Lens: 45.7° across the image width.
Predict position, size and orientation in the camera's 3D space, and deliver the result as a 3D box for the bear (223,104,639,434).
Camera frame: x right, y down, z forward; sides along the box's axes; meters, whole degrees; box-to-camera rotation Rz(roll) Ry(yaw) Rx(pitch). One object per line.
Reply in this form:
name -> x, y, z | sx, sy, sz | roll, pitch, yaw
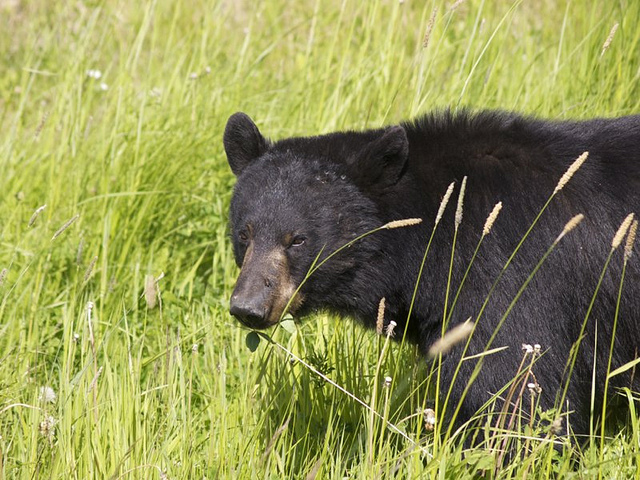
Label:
bear -> 0.698, 0.044, 4.619 | 2.282, 1.904, 0.963 | 9, 12, 5
